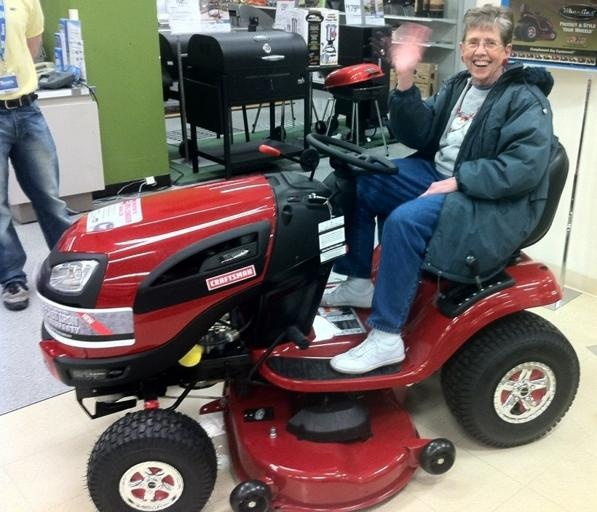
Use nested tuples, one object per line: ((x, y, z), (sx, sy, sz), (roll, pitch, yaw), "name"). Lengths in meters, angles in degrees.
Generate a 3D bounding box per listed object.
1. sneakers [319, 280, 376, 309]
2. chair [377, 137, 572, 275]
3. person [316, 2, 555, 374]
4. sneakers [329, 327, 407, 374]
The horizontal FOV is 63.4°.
((0.207, 0.143, 1.934), (0.272, 0.136, 0.087), (4, 14, 9), "sneakers")
((0.720, -0.258, 1.821), (0.425, 0.341, 0.271), (2, 17, -10), "chair")
((0.470, -0.280, 1.682), (0.735, 1.095, 1.034), (8, 27, 18), "person")
((0.228, 0.309, 1.575), (0.277, 0.111, 0.094), (-5, 17, -26), "sneakers")
